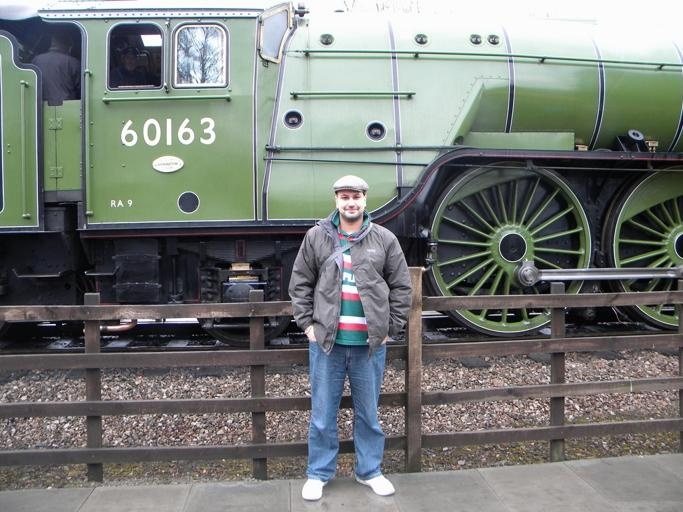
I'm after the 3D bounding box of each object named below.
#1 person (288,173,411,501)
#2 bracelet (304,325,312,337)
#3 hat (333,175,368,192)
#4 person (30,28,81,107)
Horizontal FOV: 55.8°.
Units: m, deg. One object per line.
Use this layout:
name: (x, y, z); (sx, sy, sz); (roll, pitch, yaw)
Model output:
person: (0.071, 0.726, 5.893); (1.077, 2.882, 0.416); (-1, 5, -6)
bracelet: (-0.311, 0.675, 5.900); (0.069, 0.093, 0.188); (-2, 6, -15)
hat: (0.073, -0.691, 6.187); (0.324, 0.152, 0.409); (1, 9, -8)
person: (-3.663, -2.452, 8.336); (0.537, 1.054, 0.556); (-4, 6, -34)
